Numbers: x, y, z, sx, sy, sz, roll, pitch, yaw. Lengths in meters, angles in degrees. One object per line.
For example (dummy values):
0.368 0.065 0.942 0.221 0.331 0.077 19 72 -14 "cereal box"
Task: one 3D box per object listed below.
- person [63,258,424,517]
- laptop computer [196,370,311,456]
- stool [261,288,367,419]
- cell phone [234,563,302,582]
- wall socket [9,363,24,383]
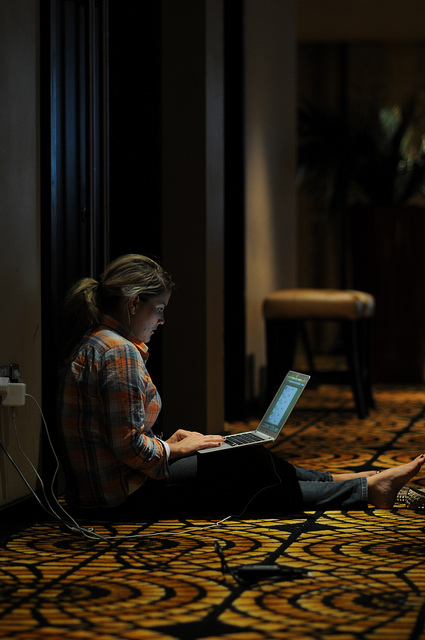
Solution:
0.124 0.199 1.747 0.980 0.707 0.445 0 0 -10 "person"
0.086 0.214 1.586 0.273 0.170 0.188 -2 -1 -8 "laptop computer"
0.448 0.093 2.817 0.399 0.562 0.393 1 17 11 "stool"
0.094 0.420 1.108 0.112 0.022 0.122 -1 -5 1 "cell phone"
-0.404 0.110 1.331 0.023 0.036 0.031 2 -5 -31 "wall socket"
